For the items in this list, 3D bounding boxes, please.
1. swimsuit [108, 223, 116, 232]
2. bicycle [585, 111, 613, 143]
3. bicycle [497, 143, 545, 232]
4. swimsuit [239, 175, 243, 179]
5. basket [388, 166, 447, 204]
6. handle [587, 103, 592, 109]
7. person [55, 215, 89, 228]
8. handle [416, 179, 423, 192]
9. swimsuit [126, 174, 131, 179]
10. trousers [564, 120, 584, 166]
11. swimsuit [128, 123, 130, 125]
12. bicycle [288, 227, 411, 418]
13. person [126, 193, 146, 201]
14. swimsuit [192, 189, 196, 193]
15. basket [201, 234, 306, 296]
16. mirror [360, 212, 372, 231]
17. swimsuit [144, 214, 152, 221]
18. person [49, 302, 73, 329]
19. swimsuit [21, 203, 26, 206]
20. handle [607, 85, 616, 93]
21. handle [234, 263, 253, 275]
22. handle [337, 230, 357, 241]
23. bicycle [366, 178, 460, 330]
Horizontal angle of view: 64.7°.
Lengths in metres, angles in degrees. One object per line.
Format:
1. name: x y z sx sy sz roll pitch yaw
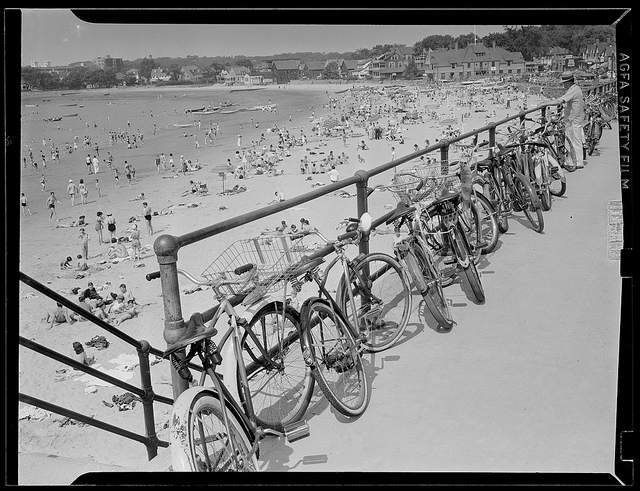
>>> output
1. swimsuit: -10.828 -0.958 26.233 0.220 0.448 0.315 11 34 25
2. bicycle: 6.667 -2.933 12.210 0.261 0.650 2.754 7 19 31
3. bicycle: 2.832 -0.848 6.858 0.566 0.717 1.206 -21 26 20
4. swimsuit: -5.802 -5.029 37.005 0.222 0.415 0.233 8 32 12
5. basket: 0.912 -0.601 4.830 0.342 0.196 0.522 -11 29 3
6. handle: 6.088 -3.177 11.498 0.028 0.127 0.088 -13 -3 26
7. person: -16.148 -1.526 32.896 1.572 0.696 0.527 -10 29 -10
8. handle: 0.924 -0.569 4.727 0.035 0.036 0.131 10 63 40
9. swimsuit: -15.127 -5.468 39.908 0.409 0.423 0.110 0 1 37
10. trousers: 4.831 -1.916 9.794 0.328 0.550 0.899 -16 9 25
11. swimsuit: -22.025 -14.031 58.253 0.188 0.357 0.190 2 -4 -37
12. bicycle: 0.169 0.544 4.102 0.605 1.243 1.869 -17 9 20
13. person: -12.999 -3.414 35.805 1.684 0.578 0.577 -11 -1 30
14. swimsuit: -8.654 -3.771 34.519 0.109 0.141 0.403 -16 20 -39
15. basket: -0.360 0.133 3.323 0.395 0.205 0.591 -5 34 22
16. mirror: 0.364 -0.192 4.163 0.085 0.146 0.241 -1 16 4
17. swimsuit: -8.967 -1.459 26.311 0.188 0.247 0.348 5 12 39
18. person: -10.746 2.951 20.790 0.744 0.738 2.076 -11 18 -29
19. swimsuit: -18.366 -2.539 31.363 0.220 0.175 0.226 0 6 -8
20. handle: 8.181 -4.449 14.272 0.157 0.181 0.410 8 19 33
21. handle: -0.466 0.148 3.066 0.103 0.052 0.034 -26 -15 -49
22. handle: 0.202 -0.075 3.900 0.197 0.047 0.055 -23 -16 -46
23. bicycle: 1.254 -0.156 5.276 0.807 1.222 1.948 -13 17 27
